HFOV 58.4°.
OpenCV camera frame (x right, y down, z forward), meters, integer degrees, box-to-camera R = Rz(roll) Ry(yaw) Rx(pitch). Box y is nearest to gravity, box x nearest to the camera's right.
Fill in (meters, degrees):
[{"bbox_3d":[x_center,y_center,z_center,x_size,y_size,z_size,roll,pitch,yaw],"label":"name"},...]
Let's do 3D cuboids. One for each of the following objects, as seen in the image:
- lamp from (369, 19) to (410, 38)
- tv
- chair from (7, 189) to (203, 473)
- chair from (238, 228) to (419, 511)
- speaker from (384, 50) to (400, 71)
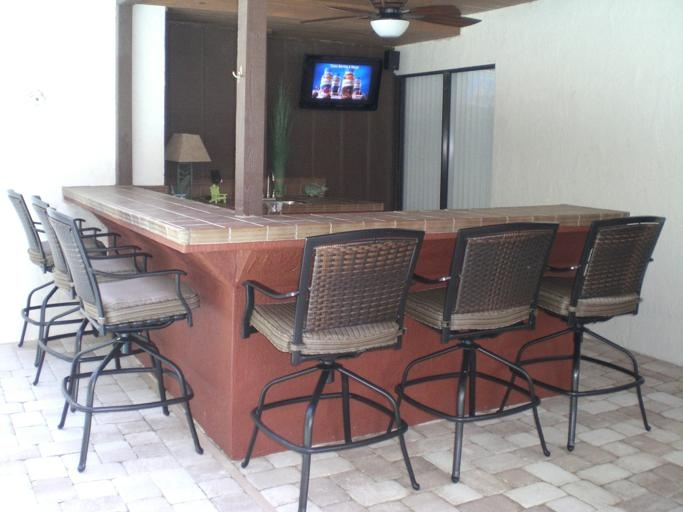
[{"bbox_3d":[0.338,-1.642,4.376,0.251,0.105,0.229,1,16,1],"label":"lamp"},{"bbox_3d":[-0.020,-2.110,7.383,1.149,0.636,0.115,-9,29,-33],"label":"tv"},{"bbox_3d":[-1.463,0.496,3.826,0.781,1.050,1.774,-4,16,-29],"label":"chair"},{"bbox_3d":[-0.070,0.519,3.093,0.942,1.414,0.787,-1,20,-3],"label":"chair"},{"bbox_3d":[0.628,-2.444,7.612,0.190,0.254,0.091,-12,24,-31],"label":"speaker"}]
